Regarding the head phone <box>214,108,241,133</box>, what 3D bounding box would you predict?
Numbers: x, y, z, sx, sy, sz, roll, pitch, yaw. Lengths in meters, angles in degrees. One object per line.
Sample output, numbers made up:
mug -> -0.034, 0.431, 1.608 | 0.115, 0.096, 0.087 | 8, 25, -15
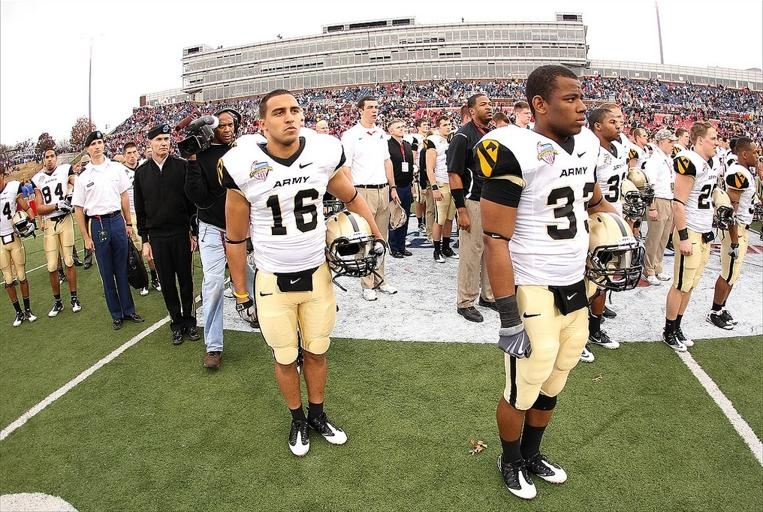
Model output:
head phone -> -1.697, -1.583, 5.436 | 0.196, 0.259, 0.099 | -10, 53, -26

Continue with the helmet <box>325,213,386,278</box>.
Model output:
helmet -> -0.252, -0.088, 4.120 | 0.419, 0.380, 0.569 | -5, 21, -23

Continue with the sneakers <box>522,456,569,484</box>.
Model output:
sneakers -> 1.325, 1.732, 3.938 | 0.377, 0.155, 0.164 | 5, 32, 37

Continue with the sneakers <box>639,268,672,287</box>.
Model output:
sneakers -> 4.078, 0.326, 7.101 | 0.561, 0.267, 0.213 | -1, 6, 36

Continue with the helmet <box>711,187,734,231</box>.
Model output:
helmet -> 4.122, -0.562, 5.850 | 0.341, 0.467, 0.397 | -7, -4, 24

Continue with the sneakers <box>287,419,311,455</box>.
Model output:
sneakers -> -0.728, 1.591, 4.155 | 0.127, 0.135, 0.336 | 0, 31, -9

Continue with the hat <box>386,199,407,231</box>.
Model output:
hat -> 0.199, -0.684, 8.048 | 0.177, 0.434, 0.438 | 6, 10, -2

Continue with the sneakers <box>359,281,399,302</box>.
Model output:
sneakers -> -0.039, 0.513, 6.769 | 0.611, 0.285, 0.226 | -11, 25, -15

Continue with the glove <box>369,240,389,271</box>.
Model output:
glove -> -0.025, -0.012, 4.147 | 0.182, 0.245, 0.149 | 2, 8, -1

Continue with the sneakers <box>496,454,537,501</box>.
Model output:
sneakers -> 1.073, 1.779, 3.822 | 0.172, 0.144, 0.346 | -15, 33, -16

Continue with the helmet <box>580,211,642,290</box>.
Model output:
helmet -> 1.747, -0.057, 3.855 | 0.427, 0.475, 0.562 | -2, 12, 0

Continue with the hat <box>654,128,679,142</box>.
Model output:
hat -> 4.349, -1.859, 7.274 | 0.282, 0.153, 0.203 | -4, 15, -5

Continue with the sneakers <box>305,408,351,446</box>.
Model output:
sneakers -> -0.477, 1.555, 4.234 | 0.460, 0.190, 0.174 | 25, 45, 21

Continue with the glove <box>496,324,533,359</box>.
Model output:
glove -> 0.976, 0.650, 3.546 | 0.200, 0.271, 0.126 | -28, 0, -4

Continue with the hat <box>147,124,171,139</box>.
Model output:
hat -> -2.660, -1.456, 5.636 | 0.195, 0.110, 0.246 | -19, 17, -39

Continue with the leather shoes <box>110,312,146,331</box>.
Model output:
leather shoes -> -3.405, 0.864, 6.404 | 0.479, 0.212, 0.187 | -15, 24, -32
